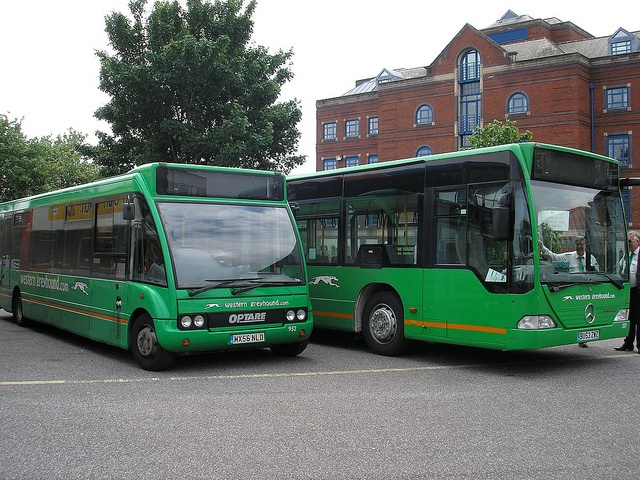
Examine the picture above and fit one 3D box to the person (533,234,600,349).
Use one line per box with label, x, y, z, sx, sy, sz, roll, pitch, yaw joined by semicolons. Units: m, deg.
person;4.383;0.760;8.277;1.082;1.949;0.499;-11;-31;40
